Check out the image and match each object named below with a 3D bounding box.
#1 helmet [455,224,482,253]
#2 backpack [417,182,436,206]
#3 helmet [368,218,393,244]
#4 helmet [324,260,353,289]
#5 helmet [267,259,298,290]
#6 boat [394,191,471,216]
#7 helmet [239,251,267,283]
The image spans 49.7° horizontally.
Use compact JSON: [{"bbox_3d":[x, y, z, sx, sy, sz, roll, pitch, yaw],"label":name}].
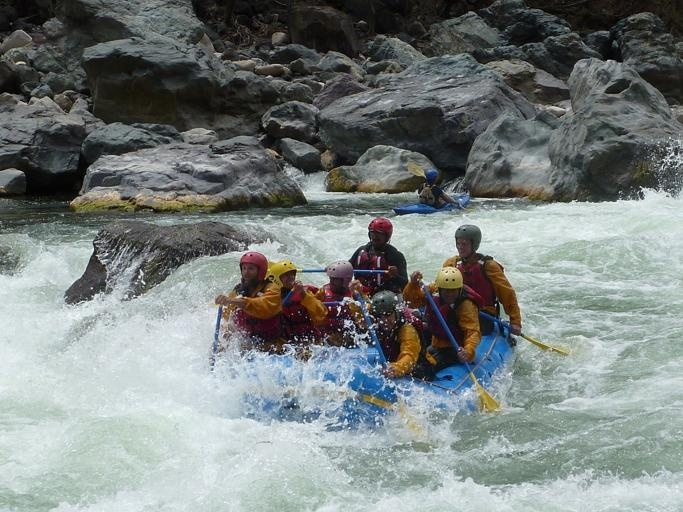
[{"bbox_3d":[1.628,-0.227,9.263,0.434,0.329,0.212,-3,7,-37],"label":"helmet"},{"bbox_3d":[1.912,-1.372,16.465,0.460,0.415,0.534,3,-8,12],"label":"backpack"},{"bbox_3d":[0.545,-0.390,10.030,0.402,0.269,0.280,-4,12,-40],"label":"helmet"},{"bbox_3d":[0.028,0.209,8.731,0.389,0.282,0.306,4,-2,-39],"label":"helmet"},{"bbox_3d":[-0.748,0.162,8.774,0.426,0.248,0.281,6,5,28],"label":"helmet"},{"bbox_3d":[2.170,-1.150,16.419,2.021,0.263,0.596,-7,14,-28],"label":"boat"},{"bbox_3d":[-1.052,0.103,8.714,0.332,0.321,0.346,12,18,26],"label":"helmet"}]
